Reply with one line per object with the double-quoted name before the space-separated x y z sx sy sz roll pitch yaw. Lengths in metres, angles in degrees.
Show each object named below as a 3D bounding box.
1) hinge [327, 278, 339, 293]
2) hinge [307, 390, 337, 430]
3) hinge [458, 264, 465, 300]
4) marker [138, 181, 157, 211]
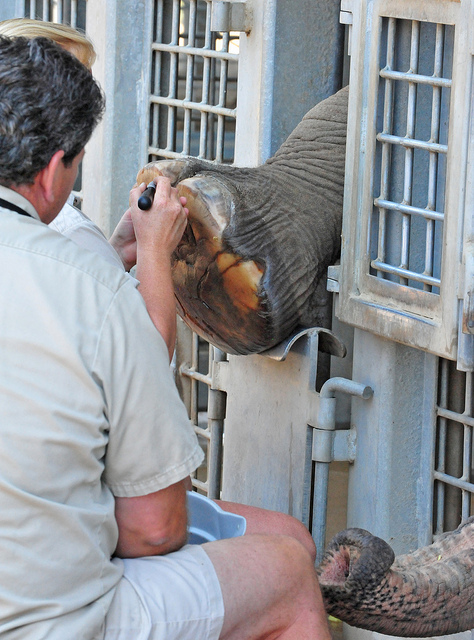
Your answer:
"hinge" 0.222 -0.076 3.569 0.019 0.030 0.038 -9 17 -23
"hinge" 0.194 0.218 3.640 0.051 0.095 0.083 2 4 -17
"hinge" 0.442 -0.072 3.039 0.015 0.056 0.030 7 3 10
"marker" -0.180 -0.243 3.115 0.030 0.040 0.097 7 4 1
